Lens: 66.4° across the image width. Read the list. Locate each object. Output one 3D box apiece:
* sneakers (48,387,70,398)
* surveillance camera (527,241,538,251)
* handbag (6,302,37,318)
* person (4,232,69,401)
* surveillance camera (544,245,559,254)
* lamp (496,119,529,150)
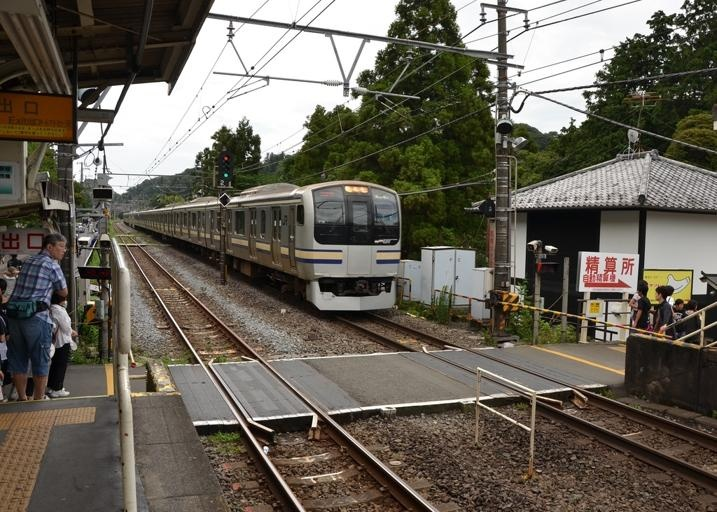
[{"bbox_3d":[-4.047,1.841,7.414,0.314,0.119,0.105,1,4,-24],"label":"sneakers"},{"bbox_3d":[3.919,-0.230,12.414,0.216,0.137,0.350,3,8,8],"label":"surveillance camera"},{"bbox_3d":[-4.039,0.645,6.582,0.345,0.216,0.105,1,1,8],"label":"handbag"},{"bbox_3d":[-3.920,0.861,6.694,0.608,1.783,0.250,0,2,-30],"label":"person"},{"bbox_3d":[4.710,-0.163,13.472,0.356,0.172,0.524,6,3,4],"label":"surveillance camera"},{"bbox_3d":[3.582,-2.828,12.790,0.837,0.637,0.484,0,2,-44],"label":"lamp"}]
